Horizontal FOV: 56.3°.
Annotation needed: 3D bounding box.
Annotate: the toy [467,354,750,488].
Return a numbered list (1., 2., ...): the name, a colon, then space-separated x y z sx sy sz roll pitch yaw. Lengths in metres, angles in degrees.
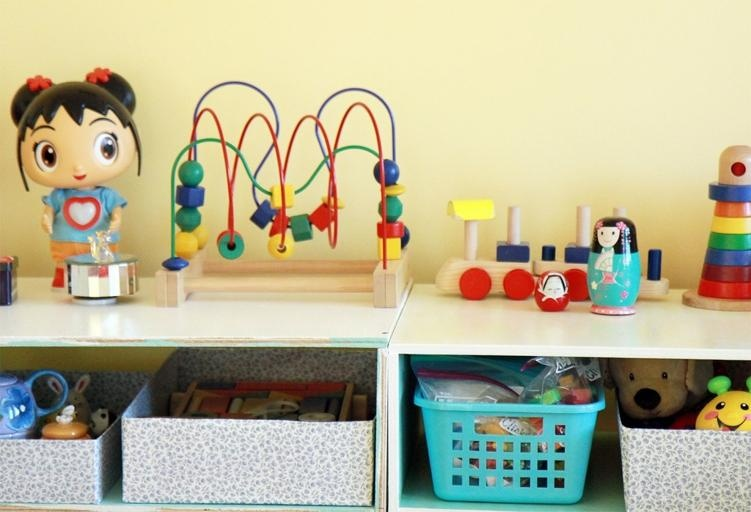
1. toy: 0.528 0.319 1.497 0.445 0.144 0.301 -5 -9 8

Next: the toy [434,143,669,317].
1. toy: 0.410 0.003 1.656 0.529 0.231 0.206 2 7 20

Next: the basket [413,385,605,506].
1. basket: 0.283 0.394 1.524 0.315 0.166 0.238 0 -4 6

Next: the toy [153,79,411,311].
1. toy: -0.222 -0.173 1.792 0.570 0.523 0.321 1 4 3

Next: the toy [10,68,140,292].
1. toy: -0.755 -0.203 1.770 0.307 0.554 0.331 -2 7 -19
